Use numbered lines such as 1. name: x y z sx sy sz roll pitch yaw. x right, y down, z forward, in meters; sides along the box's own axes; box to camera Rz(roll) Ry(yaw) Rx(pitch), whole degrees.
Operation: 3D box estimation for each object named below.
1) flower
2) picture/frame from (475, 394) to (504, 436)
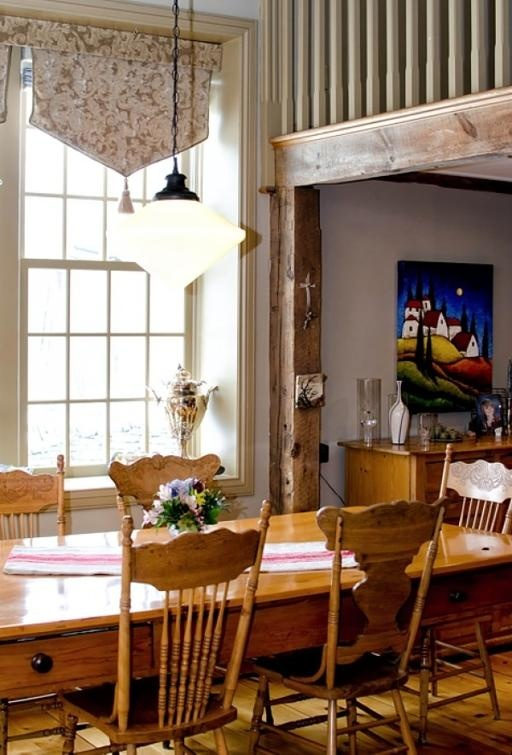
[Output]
1. flower: -0.191 0.340 1.943 0.179 0.129 0.177 0 0 -7
2. picture/frame: 1.435 0.239 4.384 0.240 0.343 0.038 0 -5 -11
